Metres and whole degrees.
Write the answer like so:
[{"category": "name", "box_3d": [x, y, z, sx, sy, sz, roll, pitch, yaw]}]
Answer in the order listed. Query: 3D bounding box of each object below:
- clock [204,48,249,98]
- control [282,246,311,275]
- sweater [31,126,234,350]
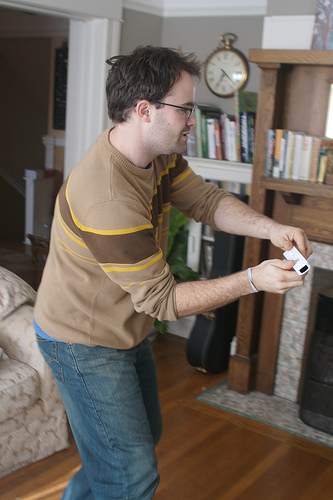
[{"category": "clock", "box_3d": [0.417, -1.257, 2.864, 0.342, 0.314, 0.050, 16, 31, 32]}, {"category": "control", "box_3d": [0.287, 0.023, 0.880, 0.036, 0.015, 0.072, -34, 25, 15]}, {"category": "sweater", "box_3d": [-0.067, -0.016, 1.000, 0.418, 0.543, 0.443, 2, 9, -30]}]
